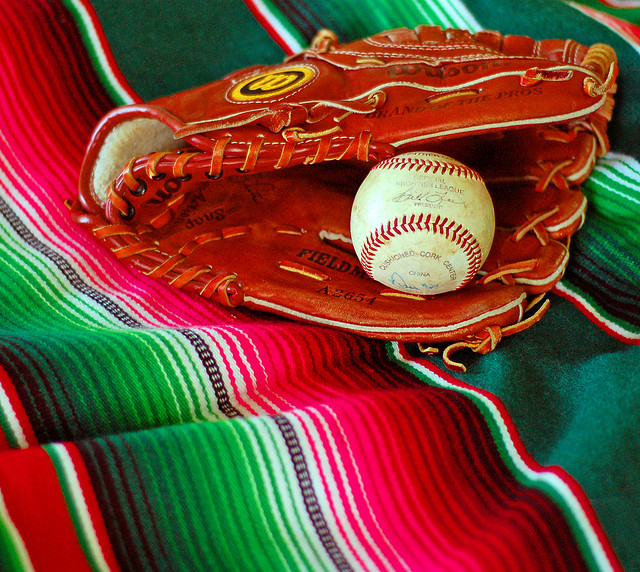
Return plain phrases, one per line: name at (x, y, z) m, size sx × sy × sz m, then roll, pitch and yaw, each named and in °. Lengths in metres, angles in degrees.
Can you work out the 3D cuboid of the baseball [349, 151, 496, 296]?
baseball at (0.189, -0.113, 1.412) m, size 0.251 × 0.141 × 0.254 m, roll -2°, pitch 95°, yaw 0°
